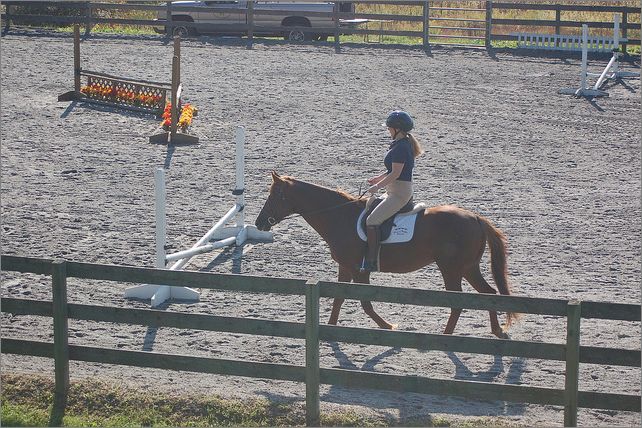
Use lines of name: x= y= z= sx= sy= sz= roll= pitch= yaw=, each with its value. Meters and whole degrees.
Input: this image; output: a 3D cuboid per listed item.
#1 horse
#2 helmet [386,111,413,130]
horse: x=1.709 y=1.166 z=49.391 sx=7.270 sy=3.774 sz=1.560 roll=3 pitch=-3 yaw=-10
helmet: x=2.170 y=-2.546 z=48.799 sx=0.662 sy=0.335 sz=0.447 roll=14 pitch=21 yaw=15
